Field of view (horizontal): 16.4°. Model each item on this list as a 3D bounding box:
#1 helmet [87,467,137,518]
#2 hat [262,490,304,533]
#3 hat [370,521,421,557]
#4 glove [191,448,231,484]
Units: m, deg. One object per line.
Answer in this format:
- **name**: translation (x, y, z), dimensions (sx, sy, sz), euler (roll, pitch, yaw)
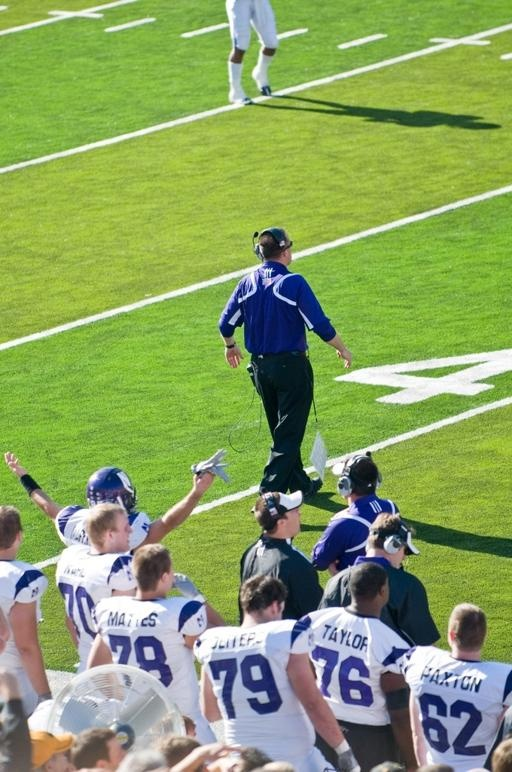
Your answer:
- **helmet**: translation (-0.739, 0.573, 9.451), dimensions (0.184, 0.258, 0.251), euler (11, 19, 37)
- **hat**: translation (0.143, 0.597, 8.850), dimensions (0.205, 0.140, 0.120), euler (-11, 14, -13)
- **hat**: translation (0.699, 0.749, 8.797), dimensions (0.186, 0.110, 0.148), euler (20, -12, -4)
- **glove**: translation (-0.204, 0.417, 9.245), dimensions (0.215, 0.242, 0.097), euler (-11, 1, 4)
